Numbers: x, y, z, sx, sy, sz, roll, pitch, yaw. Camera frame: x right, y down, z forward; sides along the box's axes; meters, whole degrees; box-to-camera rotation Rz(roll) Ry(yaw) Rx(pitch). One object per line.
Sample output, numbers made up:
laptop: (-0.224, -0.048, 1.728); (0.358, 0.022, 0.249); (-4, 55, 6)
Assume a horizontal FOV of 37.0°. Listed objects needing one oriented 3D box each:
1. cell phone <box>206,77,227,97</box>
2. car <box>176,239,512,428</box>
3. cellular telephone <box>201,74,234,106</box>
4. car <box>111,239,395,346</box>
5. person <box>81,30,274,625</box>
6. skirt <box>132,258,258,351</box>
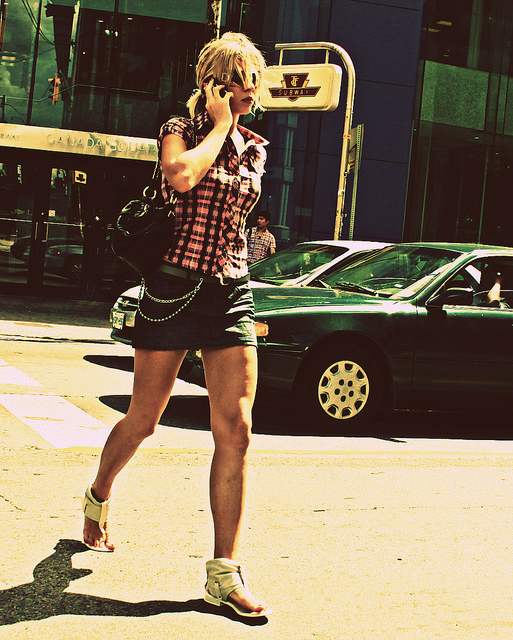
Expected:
cell phone: (-0.135, -0.740, 2.441); (0.079, 0.061, 0.030); (8, 1, 18)
car: (0.802, 0.041, 6.531); (3.481, 0.971, 1.280); (1, -1, -15)
cellular telephone: (-0.127, -0.749, 2.456); (0.103, 0.030, 0.099); (28, -24, 19)
car: (-0.098, -0.316, 7.784); (2.931, 0.820, 1.197); (0, 0, -10)
person: (-0.168, -0.025, 2.582); (0.608, 1.869, 0.642); (8, 1, -10)
skirt: (-0.192, -0.030, 2.488); (0.389, 0.288, 0.179); (7, 1, -9)
